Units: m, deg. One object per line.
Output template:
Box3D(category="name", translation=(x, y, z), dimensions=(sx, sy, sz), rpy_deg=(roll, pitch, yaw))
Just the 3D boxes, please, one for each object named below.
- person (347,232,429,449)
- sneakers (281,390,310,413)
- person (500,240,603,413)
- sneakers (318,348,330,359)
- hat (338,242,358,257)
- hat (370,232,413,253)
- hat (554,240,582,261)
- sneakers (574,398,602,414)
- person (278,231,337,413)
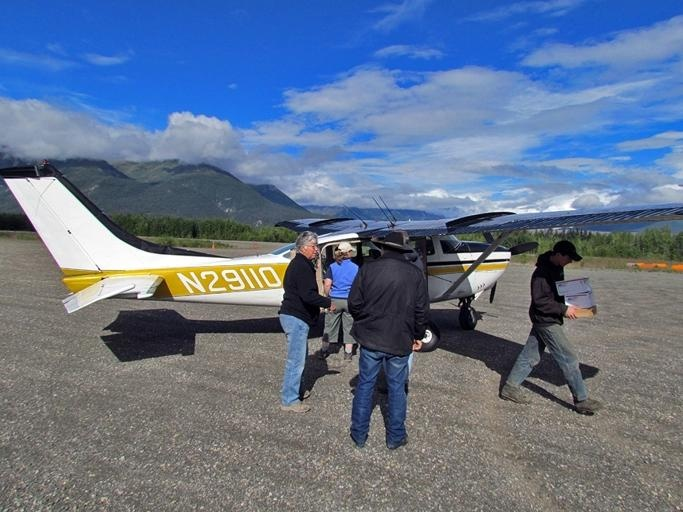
Box3D(category="person", translation=(0.569, 1.005, 4.932), dimensions=(0.974, 2.631, 0.614), rpy_deg=(-1, 8, 1))
Box3D(category="sneakers", translation=(-0.616, 2.042, 5.535), dimensions=(0.465, 0.148, 0.161), rpy_deg=(0, 3, -4))
Box3D(category="person", translation=(3.016, 0.980, 5.786), dimensions=(1.200, 2.432, 0.541), rpy_deg=(3, 9, 24))
Box3D(category="sneakers", translation=(-0.348, 1.795, 7.427), dimensions=(0.254, 0.163, 0.215), rpy_deg=(-10, -5, -10))
Box3D(category="hat", translation=(0.097, -0.150, 7.087), dimensions=(0.278, 0.165, 0.382), rpy_deg=(6, 22, 31))
Box3D(category="hat", translation=(0.675, -0.166, 5.144), dimensions=(0.426, 0.137, 0.428), rpy_deg=(11, -1, 9))
Box3D(category="hat", translation=(3.279, -0.094, 5.851), dimensions=(0.465, 0.205, 0.295), rpy_deg=(19, 10, 15))
Box3D(category="sneakers", translation=(3.480, 2.103, 5.657), dimensions=(0.407, 0.222, 0.127), rpy_deg=(-1, 8, -8))
Box3D(category="person", translation=(-0.505, 0.878, 5.580), dimensions=(0.721, 2.454, 0.597), rpy_deg=(-1, 8, -3))
